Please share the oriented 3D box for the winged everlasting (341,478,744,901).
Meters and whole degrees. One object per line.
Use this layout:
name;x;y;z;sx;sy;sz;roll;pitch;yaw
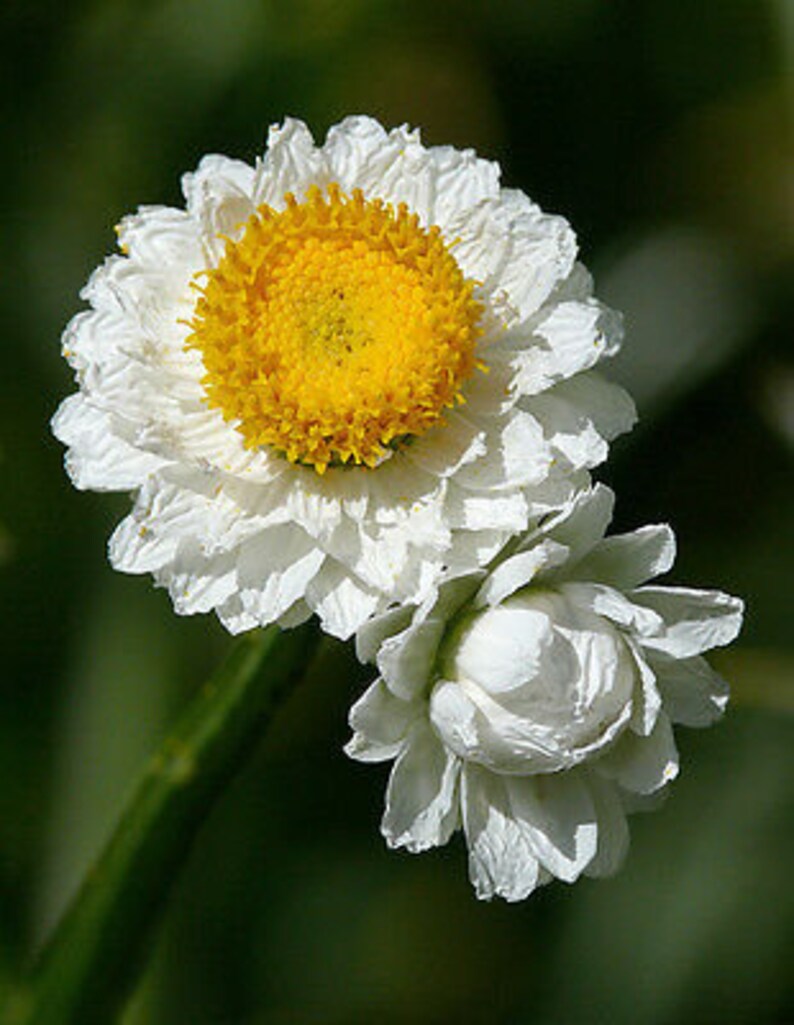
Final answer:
winged everlasting;0.054;0.087;0.765;0.274;0.250;0.129;-43;22;-15
